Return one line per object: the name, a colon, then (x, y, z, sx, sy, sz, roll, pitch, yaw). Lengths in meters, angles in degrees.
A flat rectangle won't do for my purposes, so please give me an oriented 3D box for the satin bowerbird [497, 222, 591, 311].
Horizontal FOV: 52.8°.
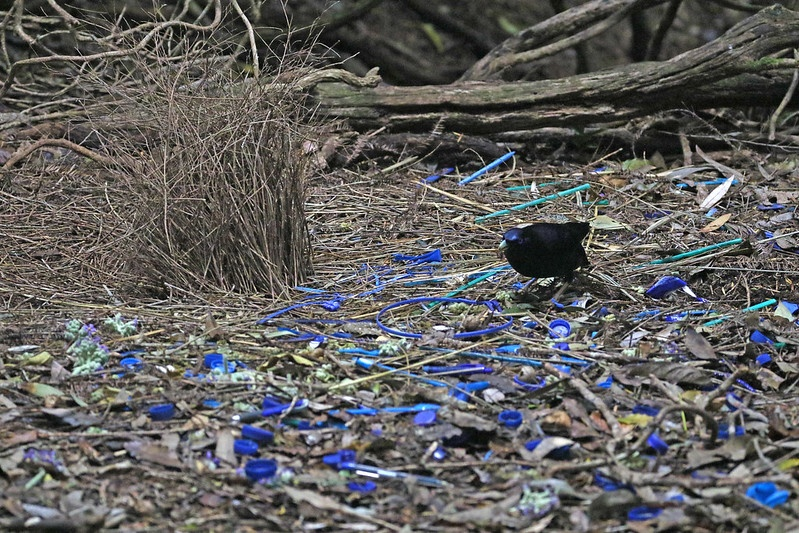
satin bowerbird: (0.774, -0.070, 4.123, 0.506, 0.319, 0.181, -14, 30, -29)
